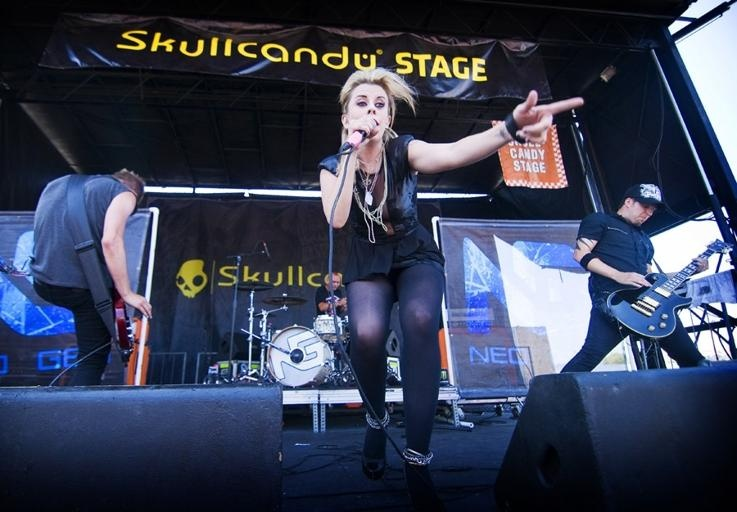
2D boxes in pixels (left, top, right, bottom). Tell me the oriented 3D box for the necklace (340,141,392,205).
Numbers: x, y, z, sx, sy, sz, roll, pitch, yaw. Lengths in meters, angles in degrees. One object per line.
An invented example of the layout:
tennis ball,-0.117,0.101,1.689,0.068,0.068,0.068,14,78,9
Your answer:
necklace,-0.015,-0.416,2.413,0.196,0.335,0.080,2,-2,1

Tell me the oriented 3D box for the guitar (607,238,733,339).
guitar,2.499,0.227,3.970,1.164,0.132,0.393,-32,49,-32

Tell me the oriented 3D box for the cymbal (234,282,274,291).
cymbal,-1.603,0.428,6.694,0.446,0.124,0.412,-8,-8,32

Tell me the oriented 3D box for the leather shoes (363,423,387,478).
leather shoes,0.031,1.004,2.417,0.093,0.301,0.113,-1,-39,3

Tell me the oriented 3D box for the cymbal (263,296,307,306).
cymbal,-1.266,0.679,7.127,0.300,0.072,0.307,-4,-22,4

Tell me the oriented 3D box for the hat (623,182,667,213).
hat,2.414,-0.535,4.309,0.279,0.215,0.386,16,8,-24

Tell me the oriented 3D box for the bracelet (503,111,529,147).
bracelet,0.646,-0.570,2.185,0.113,0.124,0.049,-47,6,-30

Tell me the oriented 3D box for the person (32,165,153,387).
person,-1.795,0.103,3.073,0.704,1.432,0.339,-4,-8,4

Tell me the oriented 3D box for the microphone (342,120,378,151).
microphone,-0.030,-0.593,2.323,0.075,0.092,0.310,-15,22,23

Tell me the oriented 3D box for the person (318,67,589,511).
person,0.257,0.067,2.369,0.974,2.187,0.503,-4,-8,10
